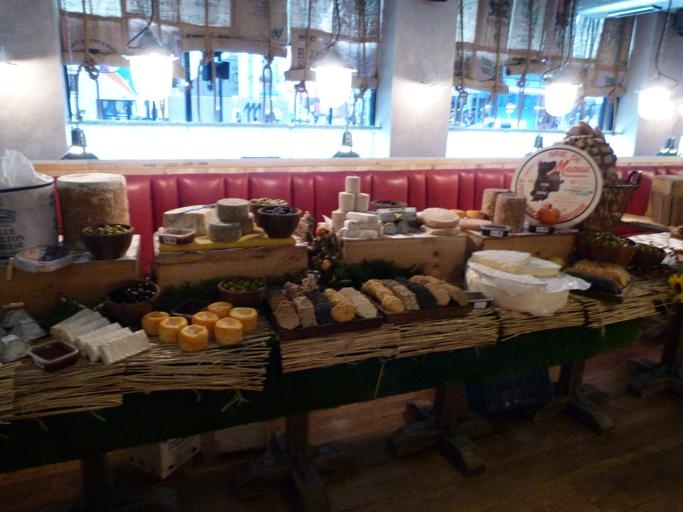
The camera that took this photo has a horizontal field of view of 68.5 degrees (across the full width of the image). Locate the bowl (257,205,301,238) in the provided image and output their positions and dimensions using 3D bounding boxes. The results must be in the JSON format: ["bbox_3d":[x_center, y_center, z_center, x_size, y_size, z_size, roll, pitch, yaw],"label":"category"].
[{"bbox_3d":[-0.311,-0.185,2.630,0.233,0.097,0.195,5,15,17],"label":"bowl"}]

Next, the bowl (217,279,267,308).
[{"bbox_3d":[-0.505,0.175,2.467,0.209,0.081,0.170,-1,13,-11],"label":"bowl"}]

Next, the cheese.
[{"bbox_3d":[0.911,0.146,2.674,0.466,0.117,0.420,-9,18,-34],"label":"cheese"}]

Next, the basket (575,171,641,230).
[{"bbox_3d":[1.661,-0.373,3.271,0.474,0.357,0.448,5,12,30],"label":"basket"}]

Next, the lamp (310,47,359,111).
[{"bbox_3d":[0.019,-1.863,5.068,0.507,0.354,0.527,21,-4,-40],"label":"lamp"}]

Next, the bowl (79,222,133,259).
[{"bbox_3d":[-1.122,-0.073,2.409,0.215,0.150,0.198,0,20,0],"label":"bowl"}]

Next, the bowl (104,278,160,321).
[{"bbox_3d":[-0.983,0.204,2.398,0.258,0.162,0.212,-18,27,-41],"label":"bowl"}]

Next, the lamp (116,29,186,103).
[{"bbox_3d":[-1.677,-1.720,4.441,0.469,0.627,1.318,-8,20,-18],"label":"lamp"}]

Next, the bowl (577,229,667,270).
[{"bbox_3d":[1.754,-0.082,3.128,0.588,0.197,0.410,11,16,33],"label":"bowl"}]
